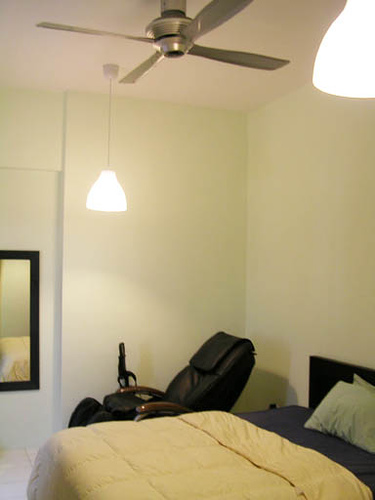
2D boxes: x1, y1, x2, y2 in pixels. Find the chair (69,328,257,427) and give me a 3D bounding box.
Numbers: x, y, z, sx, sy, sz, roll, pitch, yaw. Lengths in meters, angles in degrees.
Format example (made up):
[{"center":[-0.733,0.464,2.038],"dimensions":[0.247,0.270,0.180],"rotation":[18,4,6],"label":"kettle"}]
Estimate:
[{"center":[-0.139,1.018,3.375],"dimensions":[1.165,0.745,0.764],"rotation":[4,-11,-20],"label":"chair"}]
